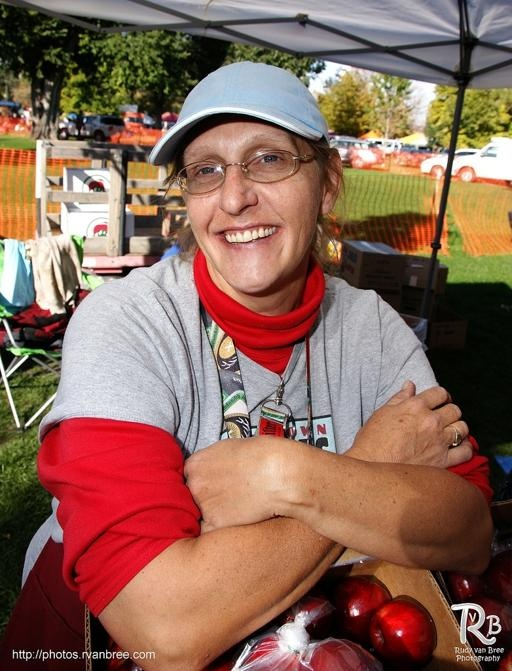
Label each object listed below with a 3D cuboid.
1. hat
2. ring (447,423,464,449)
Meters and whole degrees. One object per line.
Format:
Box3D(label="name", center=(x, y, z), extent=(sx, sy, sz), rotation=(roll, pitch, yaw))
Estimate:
Box3D(label="hat", center=(-0.001, -0.591, 1.435), extent=(0.266, 0.156, 0.332), rotation=(-5, -4, 29))
Box3D(label="ring", center=(0.530, 0.270, 1.474), extent=(0.022, 0.053, 0.043), rotation=(-4, 9, -14))
